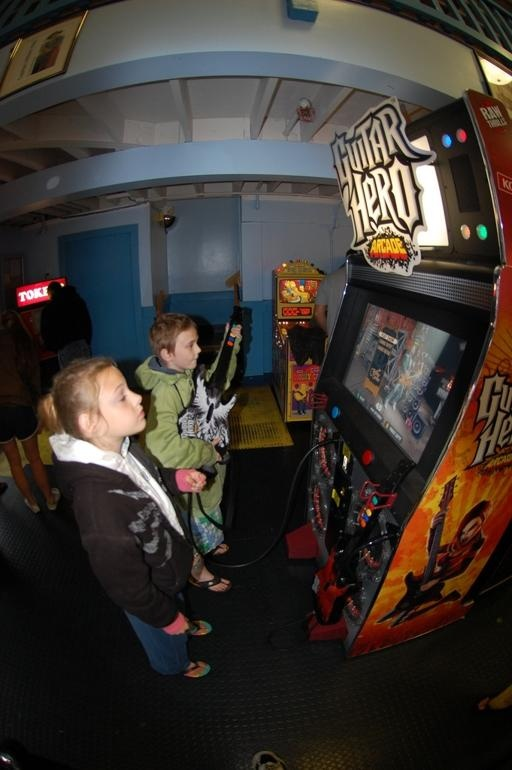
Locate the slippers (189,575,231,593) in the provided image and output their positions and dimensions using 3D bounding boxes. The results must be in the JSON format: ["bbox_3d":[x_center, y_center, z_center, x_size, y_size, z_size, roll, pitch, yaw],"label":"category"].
[{"bbox_3d":[-0.225,1.013,2.454,0.206,0.044,0.103,1,5,20],"label":"slippers"}]

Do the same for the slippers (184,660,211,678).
[{"bbox_3d":[-0.246,1.194,2.028,0.056,0.028,0.104,10,10,32],"label":"slippers"}]

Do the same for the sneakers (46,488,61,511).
[{"bbox_3d":[-1.364,0.772,3.273,0.073,0.066,0.158,0,48,-3],"label":"sneakers"}]

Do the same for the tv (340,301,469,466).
[{"bbox_3d":[0.557,0.010,1.758,0.007,0.380,0.629,11,25,-21],"label":"tv"}]

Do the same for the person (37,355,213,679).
[{"bbox_3d":[-0.387,0.603,1.797,0.558,1.402,0.531,-12,30,-25],"label":"person"}]
